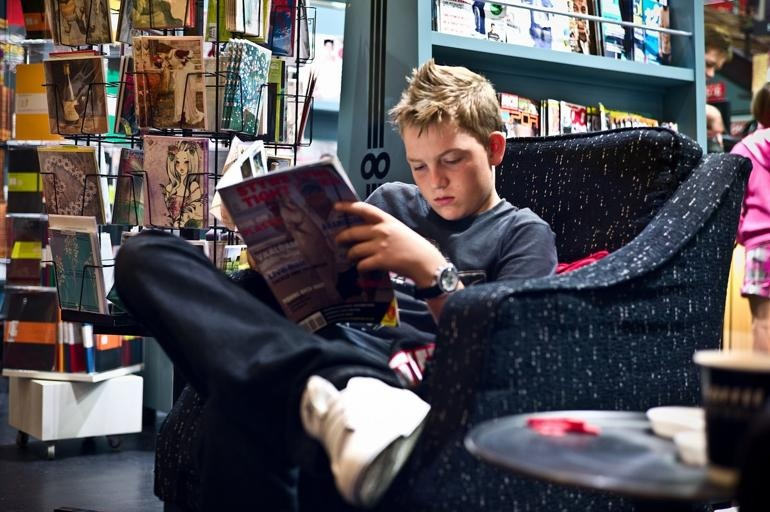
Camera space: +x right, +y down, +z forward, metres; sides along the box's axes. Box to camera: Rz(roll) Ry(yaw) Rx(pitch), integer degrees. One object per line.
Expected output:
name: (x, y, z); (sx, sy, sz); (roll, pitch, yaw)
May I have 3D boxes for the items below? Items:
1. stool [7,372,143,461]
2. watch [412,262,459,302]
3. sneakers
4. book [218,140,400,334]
stool: (-1.320, 0.623, 2.990); (0.377, 0.290, 0.379); (5, -8, -39)
watch: (0.118, 0.068, 1.734); (0.104, 0.070, 0.111); (-23, -9, 42)
sneakers: (-0.072, 0.352, 1.440); (0.299, 0.100, 0.186); (39, 50, 15)
book: (-0.180, -0.019, 1.620); (0.333, 0.463, 0.140); (-23, 27, 6)
